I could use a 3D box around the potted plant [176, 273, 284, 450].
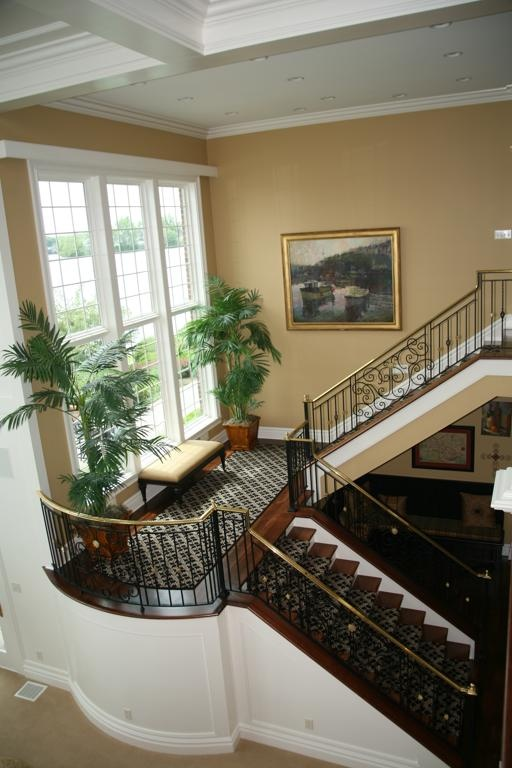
[{"bbox_3d":[-0.367,-0.254,9.761,1.444,3.043,1.755,1,15,12],"label":"potted plant"}]

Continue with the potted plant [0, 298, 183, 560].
[{"bbox_3d":[-1.867,0.302,6.401,1.335,2.560,2.019,-3,15,-4],"label":"potted plant"}]

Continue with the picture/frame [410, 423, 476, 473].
[{"bbox_3d":[3.293,1.127,9.742,1.170,1.008,0.101,3,22,17],"label":"picture/frame"}]
